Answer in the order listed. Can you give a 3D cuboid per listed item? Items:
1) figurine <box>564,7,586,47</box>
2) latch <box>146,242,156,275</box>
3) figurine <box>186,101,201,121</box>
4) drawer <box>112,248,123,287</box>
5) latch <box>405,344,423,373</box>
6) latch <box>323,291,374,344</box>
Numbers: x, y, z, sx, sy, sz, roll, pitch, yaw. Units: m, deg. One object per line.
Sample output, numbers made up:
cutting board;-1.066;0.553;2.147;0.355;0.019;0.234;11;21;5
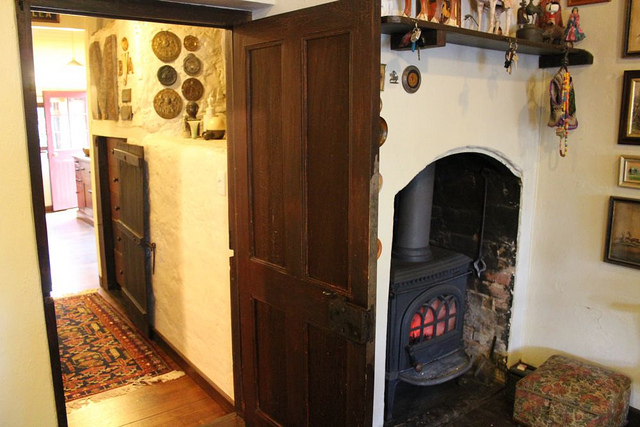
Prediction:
figurine;1.789;-1.298;3.389;0.117;0.270;0.224;10;16;34
latch;-1.552;0.413;4.497;0.046;0.305;0.150;-9;16;-34
figurine;-1.176;-0.937;4.498;0.119;0.166;0.141;-3;14;-15
drawer;-2.358;0.644;5.670;0.048;0.451;0.263;-10;17;-38
latch;0.682;1.048;3.537;0.131;0.194;0.063;1;13;0
latch;0.156;0.534;2.475;0.254;0.188;0.081;11;17;37
